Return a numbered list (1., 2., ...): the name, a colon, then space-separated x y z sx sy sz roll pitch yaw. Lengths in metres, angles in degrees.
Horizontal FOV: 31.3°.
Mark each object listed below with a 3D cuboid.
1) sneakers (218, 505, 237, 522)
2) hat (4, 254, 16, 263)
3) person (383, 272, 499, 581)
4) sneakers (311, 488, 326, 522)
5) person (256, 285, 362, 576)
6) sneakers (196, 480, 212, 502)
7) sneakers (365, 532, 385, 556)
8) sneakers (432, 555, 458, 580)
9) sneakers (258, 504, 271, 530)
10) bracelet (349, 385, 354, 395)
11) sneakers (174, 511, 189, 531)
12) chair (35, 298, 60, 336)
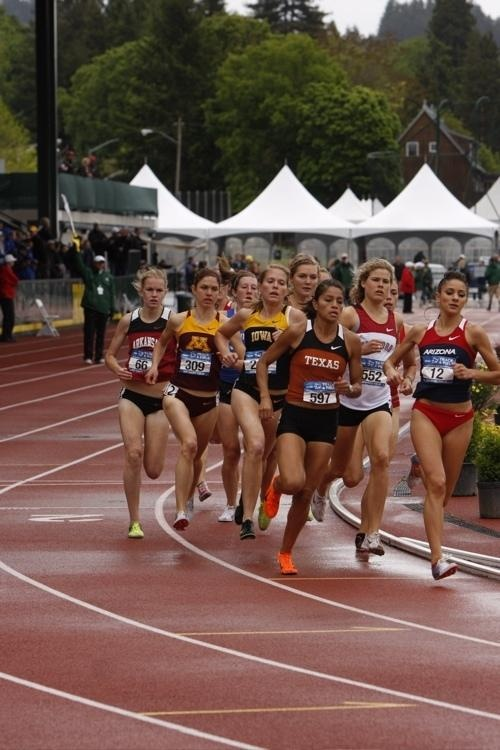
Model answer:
1. sneakers: -0.201 1.222 7.841 0.086 0.105 0.227 4 -2 9
2. hat: -6.651 -3.206 24.655 0.458 0.241 0.468 -2 1 -14
3. person: 1.300 0.335 5.745 0.540 1.926 0.746 1 0 -14
4. sneakers: 0.561 1.088 7.262 0.101 0.292 0.125 -5 15 -9
5. person: 0.381 0.356 5.709 0.677 1.854 0.623 1 0 0
6. sneakers: -0.441 1.143 8.698 0.095 0.129 0.283 -20 -9 -13
7. sneakers: 0.847 1.177 6.130 0.118 0.157 0.190 1 0 2
8. sneakers: 1.166 1.177 5.440 0.082 0.103 0.209 -8 -16 -30
9. sneakers: 0.101 1.085 6.613 0.098 0.280 0.119 -1 4 -4
10. bracelet: 0.665 0.098 5.848 0.044 0.046 0.049 0 -13 2
11. sneakers: -0.490 1.059 6.412 0.080 0.087 0.189 2 -34 -5
12. chair: -6.946 -1.821 29.282 0.973 1.374 0.997 0 5 5
